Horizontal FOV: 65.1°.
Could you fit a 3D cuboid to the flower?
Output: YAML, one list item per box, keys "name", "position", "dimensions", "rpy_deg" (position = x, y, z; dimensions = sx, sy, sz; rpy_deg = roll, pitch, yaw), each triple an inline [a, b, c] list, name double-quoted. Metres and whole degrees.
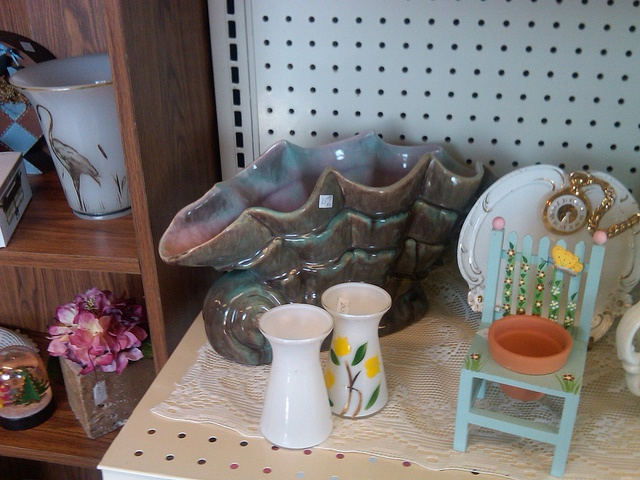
- name: "flower"
  position: [-0.515, 0.162, 1.196]
  dimensions: [0.192, 0.146, 0.172]
  rpy_deg: [10, -10, -44]
